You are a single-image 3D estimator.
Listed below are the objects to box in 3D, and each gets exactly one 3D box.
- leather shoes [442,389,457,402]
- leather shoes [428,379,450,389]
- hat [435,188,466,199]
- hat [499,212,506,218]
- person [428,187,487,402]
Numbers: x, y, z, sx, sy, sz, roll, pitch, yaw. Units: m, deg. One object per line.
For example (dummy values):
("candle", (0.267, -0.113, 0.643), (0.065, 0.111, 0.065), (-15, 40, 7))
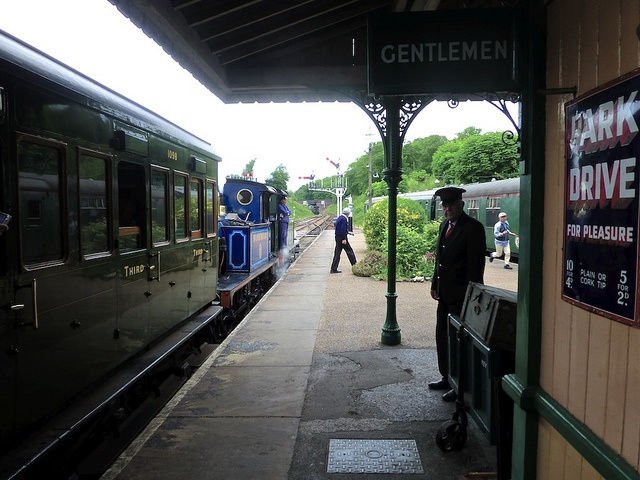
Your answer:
("leather shoes", (1.491, 1.795, 5.488), (0.085, 0.121, 0.261), (-11, -16, 36))
("leather shoes", (1.440, 1.749, 5.837), (0.289, 0.140, 0.115), (3, -5, -2))
("hat", (1.485, -0.539, 5.438), (0.274, 0.138, 0.431), (1, 6, 16))
("hat", (6.798, -0.943, 17.656), (0.259, 0.197, 0.375), (-7, -5, 9))
("person", (1.586, 0.615, 5.547), (0.651, 2.439, 0.455), (2, 5, 36))
